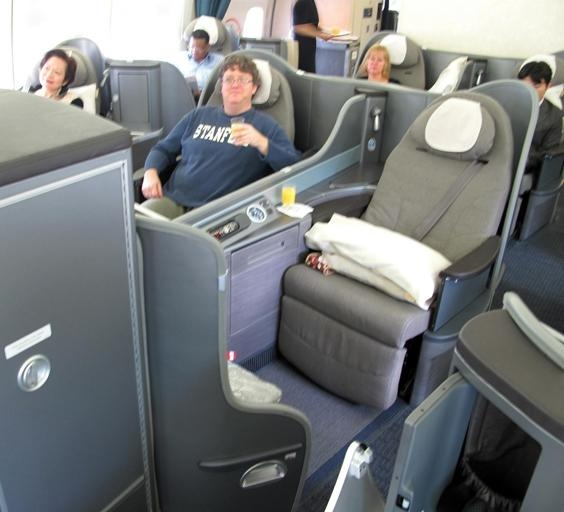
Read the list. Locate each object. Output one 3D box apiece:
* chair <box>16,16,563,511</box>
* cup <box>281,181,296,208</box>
[{"bbox_3d":[0.278,0.061,2.125,1.586,1.269,1.466,21,38,32],"label":"chair"},{"bbox_3d":[0.024,-0.246,1.890,0.066,0.125,0.073,1,23,0],"label":"cup"}]
